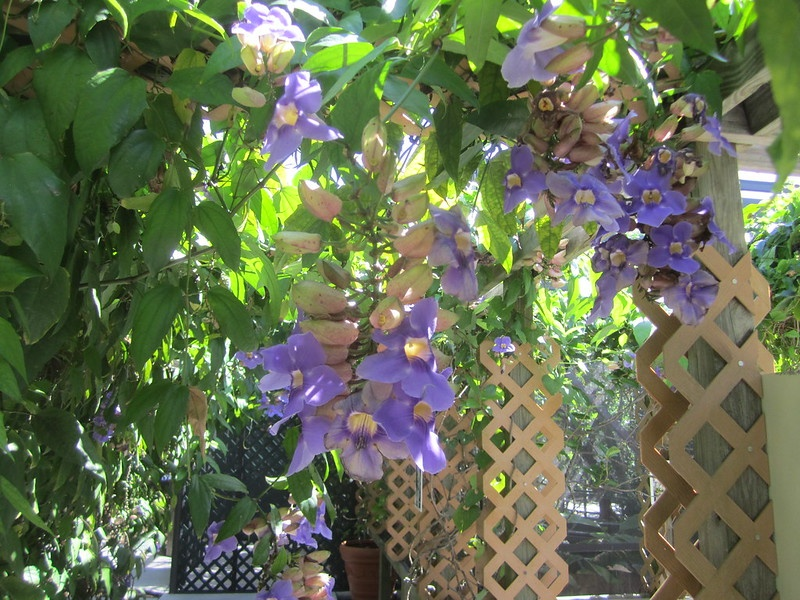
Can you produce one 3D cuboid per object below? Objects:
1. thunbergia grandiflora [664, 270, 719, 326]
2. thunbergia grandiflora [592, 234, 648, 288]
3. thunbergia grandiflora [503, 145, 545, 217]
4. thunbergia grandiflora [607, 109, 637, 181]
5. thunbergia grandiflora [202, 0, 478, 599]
[{"bbox_3d":[0.518,-0.008,1.361,0.126,0.083,0.065,21,-34,-41],"label":"thunbergia grandiflora"},{"bbox_3d":[0.374,-0.064,1.273,0.093,0.093,0.066,4,-26,-16],"label":"thunbergia grandiflora"},{"bbox_3d":[0.182,-0.178,1.138,0.052,0.078,0.079,6,-27,-20],"label":"thunbergia grandiflora"},{"bbox_3d":[0.333,-0.236,1.165,0.031,0.101,0.078,5,12,17],"label":"thunbergia grandiflora"},{"bbox_3d":[-0.071,-0.055,1.750,0.590,1.561,0.540,4,-2,-10],"label":"thunbergia grandiflora"}]
